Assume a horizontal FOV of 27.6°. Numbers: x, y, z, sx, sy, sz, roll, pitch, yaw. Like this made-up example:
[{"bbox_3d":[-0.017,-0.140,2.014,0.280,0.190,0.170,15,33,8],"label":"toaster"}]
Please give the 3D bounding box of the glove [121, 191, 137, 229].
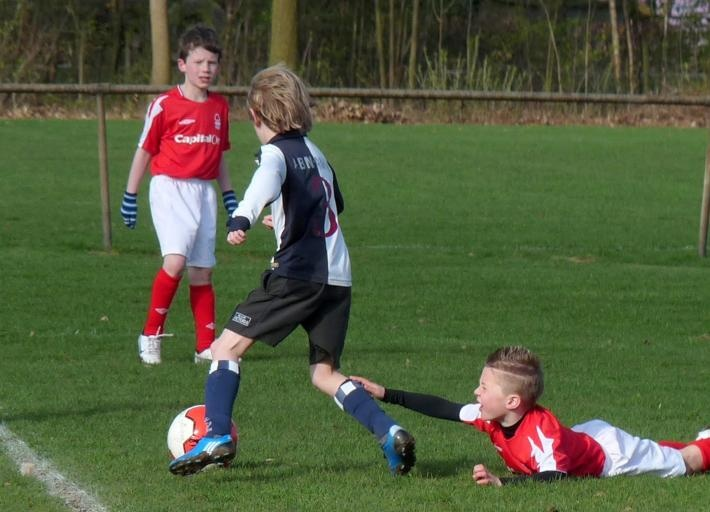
[{"bbox_3d":[-2.383,-0.485,15.415,0.139,0.436,0.237,4,17,-8],"label":"glove"}]
